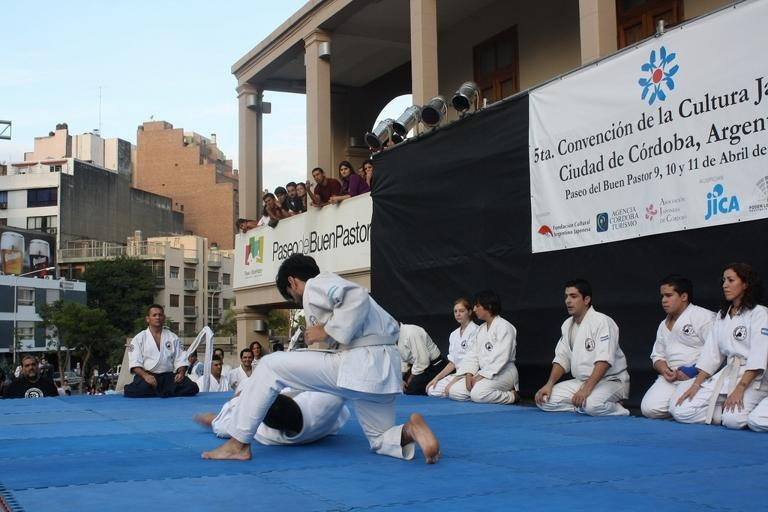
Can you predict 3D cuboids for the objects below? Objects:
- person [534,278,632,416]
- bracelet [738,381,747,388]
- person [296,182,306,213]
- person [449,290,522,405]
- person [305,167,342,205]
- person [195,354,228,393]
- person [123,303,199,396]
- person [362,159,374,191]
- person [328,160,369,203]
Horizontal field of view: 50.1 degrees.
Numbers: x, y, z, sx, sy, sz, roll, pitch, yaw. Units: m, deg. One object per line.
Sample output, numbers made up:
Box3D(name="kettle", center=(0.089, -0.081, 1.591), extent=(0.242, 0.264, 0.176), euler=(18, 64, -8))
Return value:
Box3D(name="person", center=(2.614, 1.193, 10.759), extent=(1.061, 1.785, 0.571), euler=(-4, -5, 15))
Box3D(name="bracelet", center=(4.069, 1.447, 9.325), extent=(0.062, 0.067, 0.064), euler=(-24, 15, -35))
Box3D(name="person", center=(-1.765, -1.265, 17.845), extent=(0.220, 0.634, 0.836), euler=(-2, -6, -6))
Box3D(name="person", center=(1.480, 1.356, 12.204), extent=(0.998, 1.652, 0.598), euler=(-5, -5, 23))
Box3D(name="person", center=(-1.247, -1.461, 17.017), extent=(0.586, 0.790, 0.812), euler=(-18, 5, 30))
Box3D(name="person", center=(-3.066, 2.199, 15.109), extent=(0.830, 0.728, 0.353), euler=(0, -4, -32))
Box3D(name="person", center=(-3.695, 1.561, 13.319), extent=(1.149, 1.523, 0.925), euler=(2, -9, -41))
Box3D(name="person", center=(-0.309, -1.607, 16.237), extent=(0.247, 0.274, 0.704), euler=(23, 24, -10))
Box3D(name="person", center=(-0.701, -1.541, 16.504), extent=(0.557, 0.875, 1.102), euler=(1, -7, -35))
